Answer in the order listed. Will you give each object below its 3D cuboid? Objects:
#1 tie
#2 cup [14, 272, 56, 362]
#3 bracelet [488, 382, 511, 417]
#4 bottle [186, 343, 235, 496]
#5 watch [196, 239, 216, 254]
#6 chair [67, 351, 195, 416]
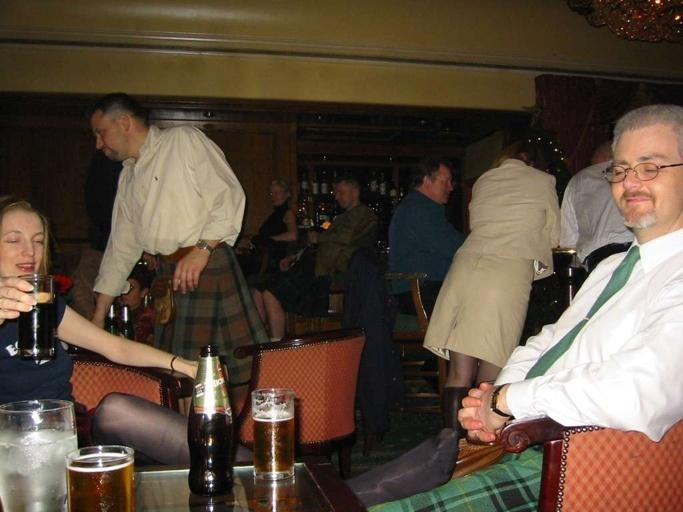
[{"bbox_3d":[0.896,0.182,2.313,0.043,0.128,0.858,13,-48,-31],"label":"tie"},{"bbox_3d":[-0.846,0.172,1.710,0.092,0.242,0.116,1,-2,-28],"label":"cup"},{"bbox_3d":[0.465,0.432,1.851,0.030,0.079,0.081,5,-42,9],"label":"bracelet"},{"bbox_3d":[-0.330,0.408,1.555,0.112,0.380,0.229,1,-2,-10],"label":"bottle"},{"bbox_3d":[-0.599,-0.044,2.725,0.075,0.045,0.077,29,-30,10],"label":"watch"},{"bbox_3d":[-0.777,0.452,2.291,0.292,0.370,0.310,6,-8,-35],"label":"chair"}]
